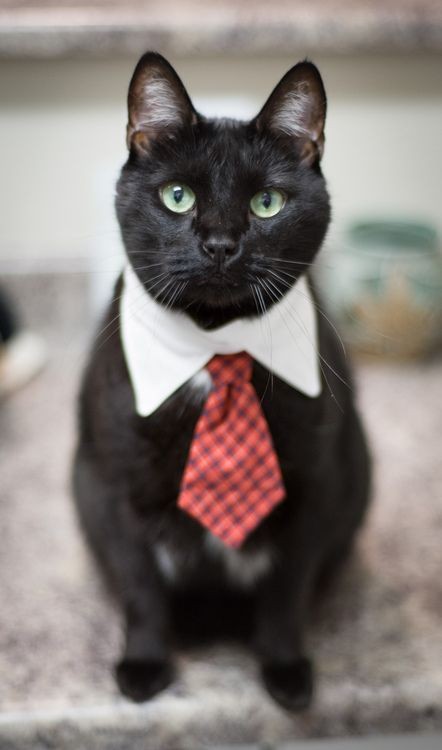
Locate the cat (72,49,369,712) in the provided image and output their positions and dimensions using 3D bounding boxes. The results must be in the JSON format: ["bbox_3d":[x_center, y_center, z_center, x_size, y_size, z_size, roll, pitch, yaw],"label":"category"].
[{"bbox_3d":[0.004,0.030,1.117,0.483,0.873,0.570,1,37,1],"label":"cat"}]
